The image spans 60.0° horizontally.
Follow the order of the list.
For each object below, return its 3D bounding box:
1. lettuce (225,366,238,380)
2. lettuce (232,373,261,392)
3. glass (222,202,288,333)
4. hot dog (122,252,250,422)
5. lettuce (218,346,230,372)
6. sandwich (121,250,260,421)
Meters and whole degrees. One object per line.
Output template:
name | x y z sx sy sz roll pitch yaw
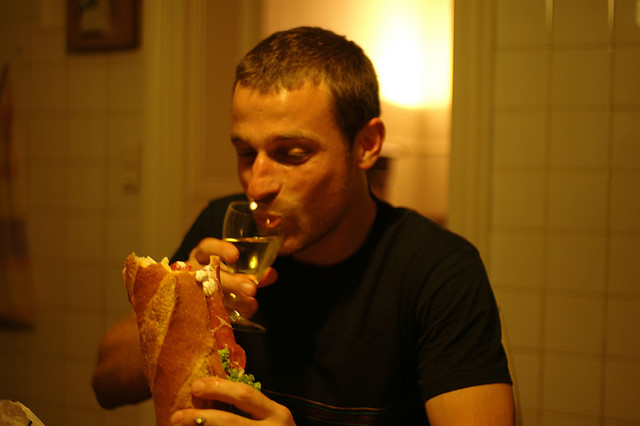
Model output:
lettuce | -0.256 0.462 1.606 0.025 0.025 0.031 10 -21 -26
lettuce | -0.204 0.486 1.618 0.054 0.026 0.054 13 5 0
glass | -0.232 0.087 1.910 0.221 0.249 0.112 4 3 35
hot dog | -0.421 0.338 1.755 0.307 0.537 0.187 -9 -2 -10
lettuce | -0.279 0.428 1.628 0.047 0.050 0.023 -19 0 36
sandwich | -0.400 0.345 1.624 0.325 0.568 0.211 -6 -3 -5
